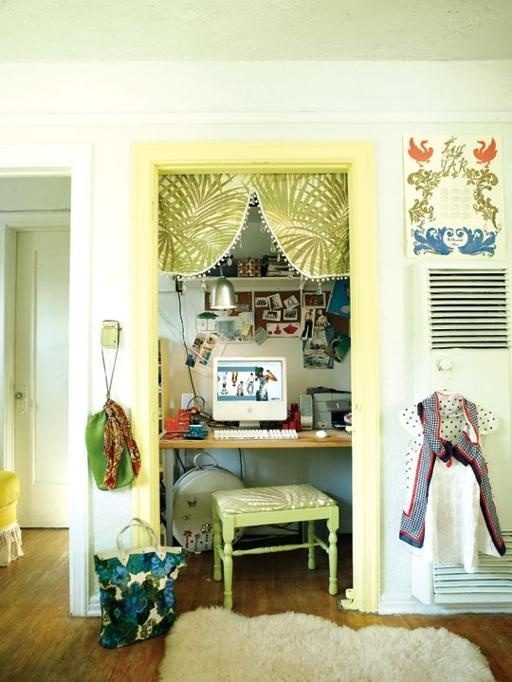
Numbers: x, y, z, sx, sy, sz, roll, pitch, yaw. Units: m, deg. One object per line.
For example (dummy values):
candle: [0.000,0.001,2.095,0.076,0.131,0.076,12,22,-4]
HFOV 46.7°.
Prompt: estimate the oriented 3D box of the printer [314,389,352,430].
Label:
printer: [0.434,0.430,3.687,0.292,0.276,0.196,0,-9,-3]

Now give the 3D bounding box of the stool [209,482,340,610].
stool: [0.073,1.013,3.021,0.653,0.557,0.476,1,-8,-12]

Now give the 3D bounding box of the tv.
tv: [-0.037,0.294,3.588,0.407,0.371,0.132,0,-15,-1]

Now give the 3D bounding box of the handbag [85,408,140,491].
handbag: [-0.617,0.446,2.554,0.228,0.278,0.132,-1,0,-16]
